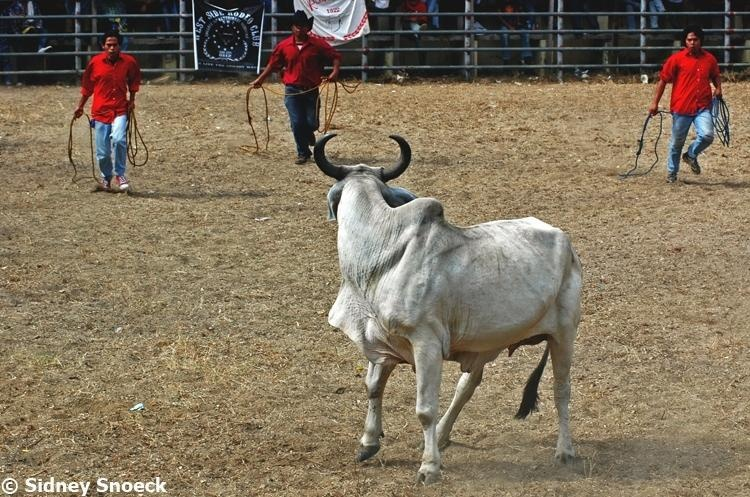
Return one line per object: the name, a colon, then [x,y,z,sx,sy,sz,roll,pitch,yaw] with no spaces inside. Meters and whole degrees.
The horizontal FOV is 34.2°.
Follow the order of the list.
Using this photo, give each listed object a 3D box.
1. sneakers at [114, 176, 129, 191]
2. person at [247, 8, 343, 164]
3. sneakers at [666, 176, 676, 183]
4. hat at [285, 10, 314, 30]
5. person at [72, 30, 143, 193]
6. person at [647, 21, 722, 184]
sneakers: [-3.832,-0.977,18.468,0.136,0.144,0.359,-16,10,-16]
person: [-1.159,-2.542,19.359,1.202,2.414,0.600,1,13,-3]
sneakers: [4.527,-1.055,18.631,0.071,0.081,0.128,-6,-12,30]
hat: [-1.182,-3.567,19.240,0.425,0.321,0.463,0,14,-2]
person: [-3.976,-2.048,18.284,0.891,2.360,0.715,-1,14,-13]
person: [4.681,-2.150,18.333,0.959,2.335,0.556,5,14,13]
